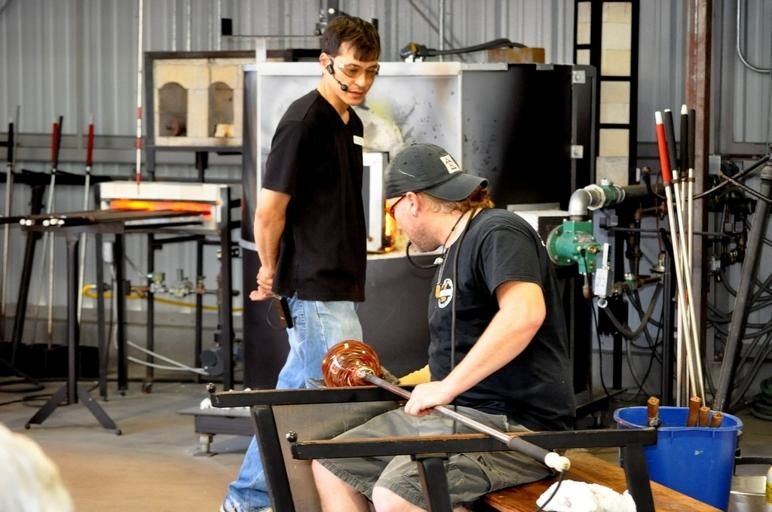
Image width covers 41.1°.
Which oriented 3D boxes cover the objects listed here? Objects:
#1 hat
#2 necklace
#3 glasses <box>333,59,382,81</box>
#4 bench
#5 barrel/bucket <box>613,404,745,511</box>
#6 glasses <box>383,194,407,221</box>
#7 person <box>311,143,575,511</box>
[{"bbox_3d":[0.310,-0.527,6.547,0.541,0.280,0.350,-5,6,20],"label":"hat"},{"bbox_3d":[0.422,-0.014,6.462,0.120,0.503,0.351,13,14,36],"label":"necklace"},{"bbox_3d":[-0.218,-1.290,7.152,0.209,0.072,0.241,-1,1,-28],"label":"glasses"},{"bbox_3d":[1.263,1.430,6.341,0.508,0.172,0.729,-5,8,-33],"label":"bench"},{"bbox_3d":[2.030,1.317,7.377,1.030,1.046,0.735,0,-3,2],"label":"barrel/bucket"},{"bbox_3d":[0.043,-0.313,6.598,0.049,0.157,0.154,2,-2,28],"label":"glasses"},{"bbox_3d":[0.441,0.459,6.353,1.444,1.863,0.565,2,1,9],"label":"person"}]
